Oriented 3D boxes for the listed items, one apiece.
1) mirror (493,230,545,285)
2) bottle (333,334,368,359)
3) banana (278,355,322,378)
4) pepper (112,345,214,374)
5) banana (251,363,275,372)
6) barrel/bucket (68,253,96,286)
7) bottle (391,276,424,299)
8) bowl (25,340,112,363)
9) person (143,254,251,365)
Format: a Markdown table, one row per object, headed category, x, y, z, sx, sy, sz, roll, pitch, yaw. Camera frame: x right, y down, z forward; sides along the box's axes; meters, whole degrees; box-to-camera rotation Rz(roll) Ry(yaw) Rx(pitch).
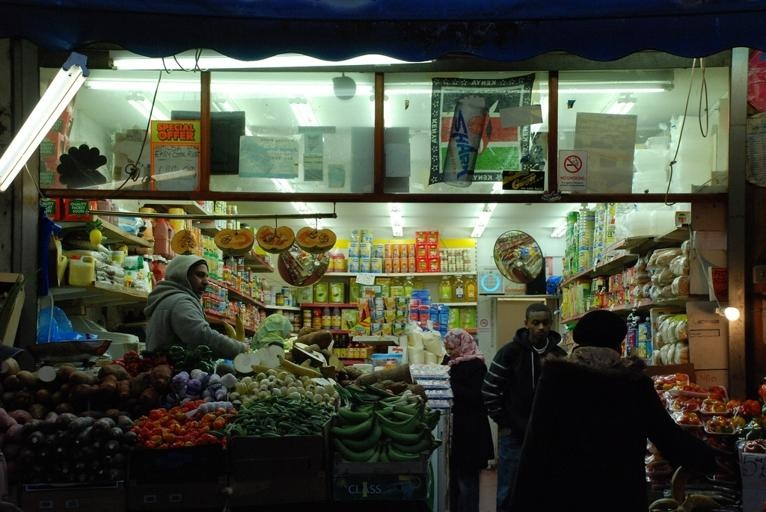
| category | x | y | z | sx | sy | sz | roll | pitch | yaw |
| --- | --- | --- | --- | --- | --- | --- | --- | --- | --- |
| mirror | 1.413 | -0.097 | 8.320 | 0.474 | 0.126 | 0.457 | 27 | -47 | 4 |
| bottle | -0.413 | 1.187 | 10.777 | 0.460 | 0.315 | 0.228 | 1 | -5 | -4 |
| banana | -0.580 | 0.774 | 5.673 | 0.178 | 0.067 | 0.170 | 21 | -3 | 8 |
| pepper | -1.407 | 0.670 | 5.314 | 0.443 | 0.112 | 0.253 | 1 | 6 | 13 |
| banana | -0.817 | 0.765 | 5.578 | 0.177 | 0.054 | 0.052 | 7 | 30 | -36 |
| barrel/bucket | -2.366 | 0.121 | 6.524 | 0.205 | 0.246 | 0.118 | 3 | -5 | -21 |
| bottle | 0.308 | 0.437 | 11.287 | 0.282 | 0.350 | 0.142 | 2 | -5 | -15 |
| bowl | -1.982 | 0.600 | 5.227 | 0.237 | 0.093 | 0.332 | -4 | -6 | 29 |
| person | -1.353 | 0.418 | 6.226 | 0.802 | 1.204 | 0.891 | 0 | -13 | -19 |
